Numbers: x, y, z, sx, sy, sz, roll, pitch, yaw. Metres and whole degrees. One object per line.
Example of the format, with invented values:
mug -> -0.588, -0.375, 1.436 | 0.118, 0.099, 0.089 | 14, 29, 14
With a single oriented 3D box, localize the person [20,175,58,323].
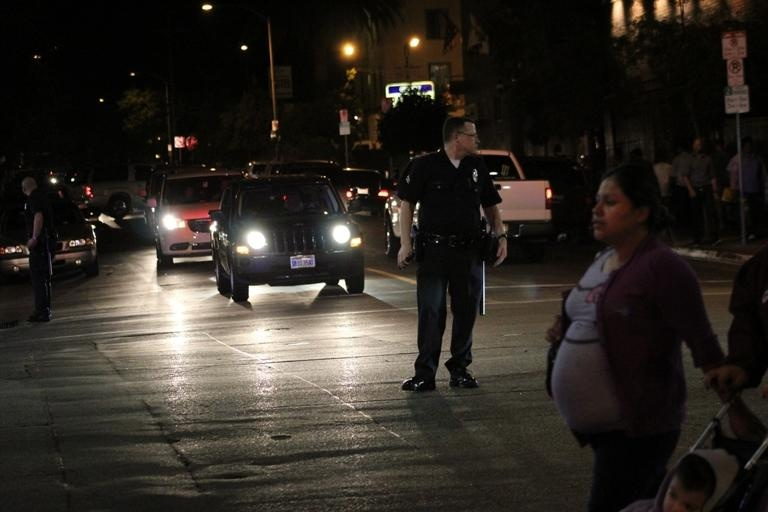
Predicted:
person -> -6.253, -0.133, 12.522 | 0.484, 2.549, 1.065 | -3, 5, -25

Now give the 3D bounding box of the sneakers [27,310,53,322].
sneakers -> -6.123, 1.060, 12.304 | 0.434, 0.208, 0.177 | 3, 14, -1

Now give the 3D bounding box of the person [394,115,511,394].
person -> 0.705, -0.016, 7.260 | 1.110, 2.854, 0.520 | -1, 5, -1

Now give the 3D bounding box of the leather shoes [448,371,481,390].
leather shoes -> 0.843, 1.337, 7.374 | 0.154, 0.123, 0.285 | 2, -5, -28

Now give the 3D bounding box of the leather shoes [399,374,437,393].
leather shoes -> 0.361, 1.350, 7.279 | 0.309, 0.133, 0.164 | 8, 6, 1
